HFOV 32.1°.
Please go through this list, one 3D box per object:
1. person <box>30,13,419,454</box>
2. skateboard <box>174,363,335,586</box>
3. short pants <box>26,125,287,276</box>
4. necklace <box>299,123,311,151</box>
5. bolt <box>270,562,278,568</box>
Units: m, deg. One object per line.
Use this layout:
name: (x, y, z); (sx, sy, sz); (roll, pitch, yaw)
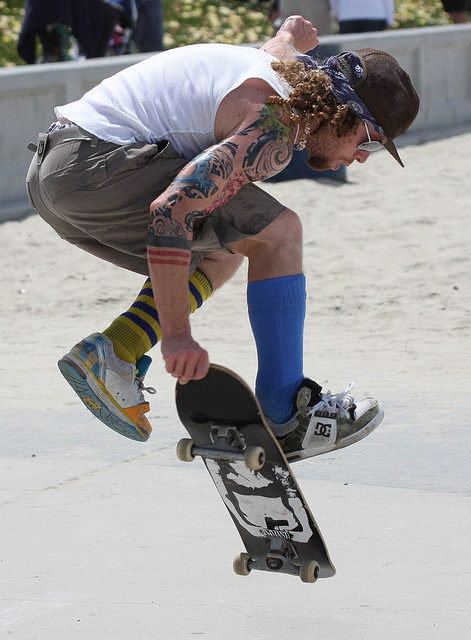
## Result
person: (-0.010, -0.219, 2.140); (0.919, 1.183, 0.820); (-6, 14, -17)
skateboard: (0.053, 0.423, 1.964); (0.248, 0.729, 0.131); (-14, 35, 37)
short pants: (-0.291, -0.320, 2.127); (0.621, 0.221, 0.462); (24, -5, -14)
necklace: (0.173, -0.449, 2.000); (0.013, 0.047, 0.008); (21, 40, 3)
bolt: (0.093, 0.586, 1.945); (0.016, 0.013, 0.004); (11, 17, 16)
